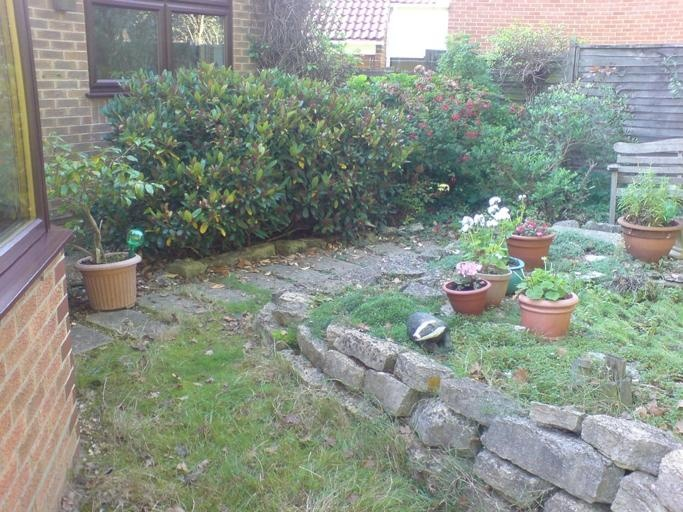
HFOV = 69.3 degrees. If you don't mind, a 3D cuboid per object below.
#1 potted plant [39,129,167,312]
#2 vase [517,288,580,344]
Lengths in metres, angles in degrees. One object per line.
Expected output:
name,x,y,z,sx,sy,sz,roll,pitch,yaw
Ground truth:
potted plant,-2.170,-0.328,4.607,0.858,1.705,1.143,1,10,10
vase,1.558,0.420,3.735,0.465,0.362,0.488,4,16,34
